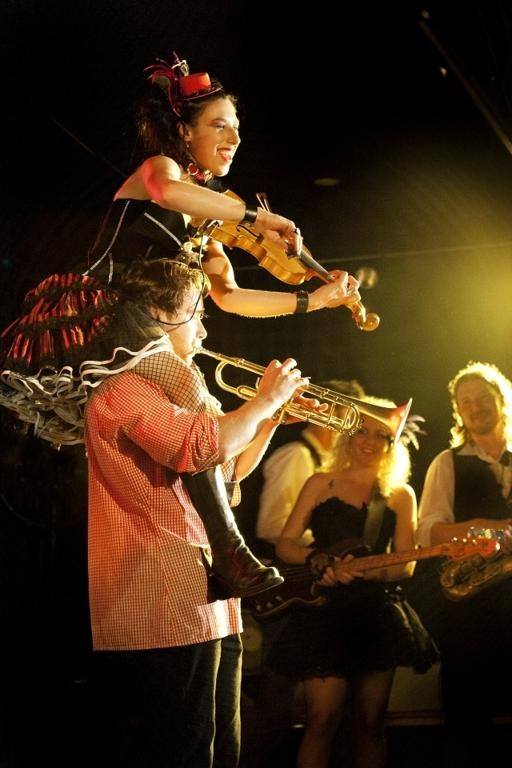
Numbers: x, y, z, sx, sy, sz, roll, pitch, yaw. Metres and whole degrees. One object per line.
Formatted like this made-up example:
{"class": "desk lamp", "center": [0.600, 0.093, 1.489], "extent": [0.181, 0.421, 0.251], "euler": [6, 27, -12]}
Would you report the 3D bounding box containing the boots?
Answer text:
{"class": "boots", "center": [-0.056, 0.406, 2.078], "extent": [0.124, 0.342, 0.295], "euler": [-3, -13, -39]}
